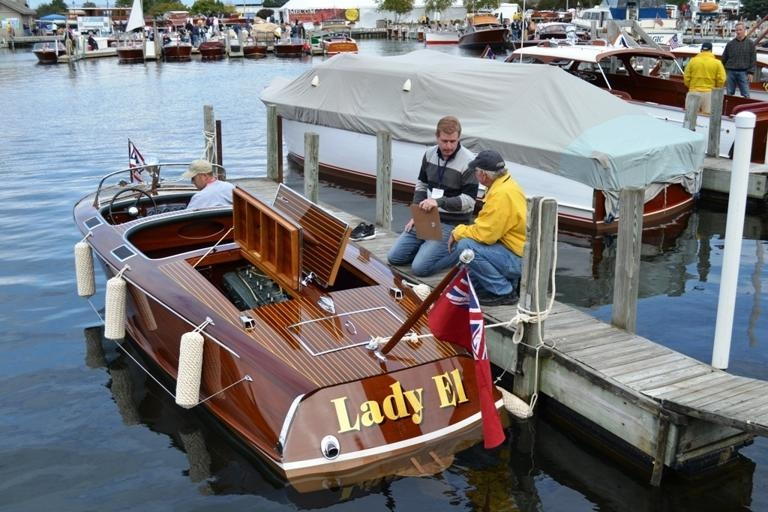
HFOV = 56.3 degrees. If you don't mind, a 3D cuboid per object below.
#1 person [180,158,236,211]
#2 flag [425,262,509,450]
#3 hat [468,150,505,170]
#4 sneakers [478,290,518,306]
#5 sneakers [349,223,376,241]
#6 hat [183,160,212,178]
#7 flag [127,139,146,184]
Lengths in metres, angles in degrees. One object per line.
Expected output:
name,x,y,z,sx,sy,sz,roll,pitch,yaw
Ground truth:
person,-2.489,-0.994,10.077,0.643,0.632,0.867,-7,3,-5
flag,0.808,0.941,6.915,0.409,1.642,0.838,-14,23,-25
hat,1.173,-1.084,8.272,0.259,0.170,0.331,-14,32,-27
sneakers,1.365,0.504,8.700,0.492,0.190,0.167,-2,22,-8
sneakers,-0.305,-0.362,10.665,0.213,0.135,0.370,20,24,34
hat,-2.634,-1.201,10.062,0.399,0.185,0.259,5,25,16
flag,-4.307,-1.613,12.395,0.113,0.876,0.387,-28,-20,35
